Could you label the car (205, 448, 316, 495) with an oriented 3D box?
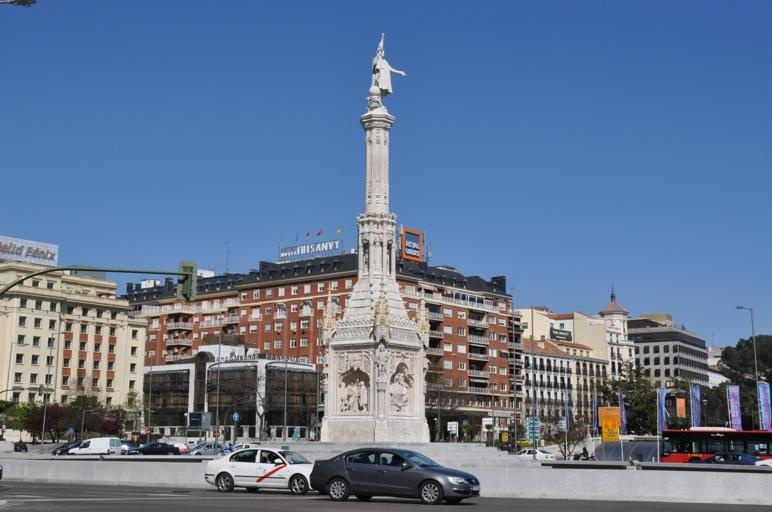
[{"bbox_3d":[-7.138,12.229,57.814,8.090,2.272,3.551,-3,-4,35],"label":"car"}]
